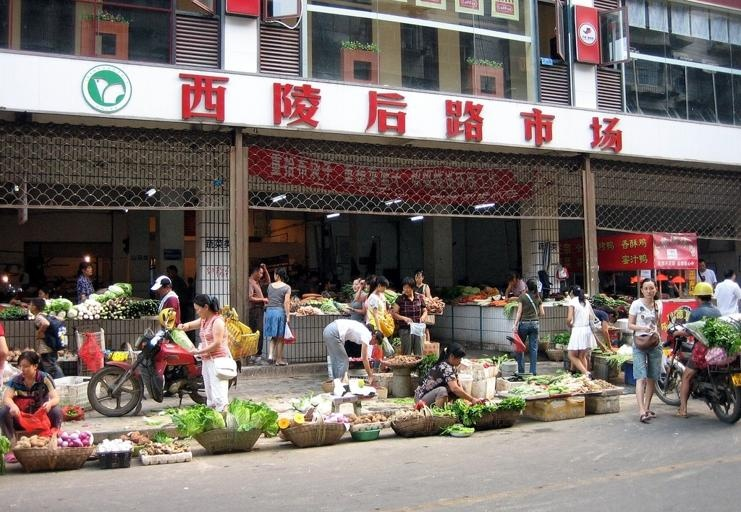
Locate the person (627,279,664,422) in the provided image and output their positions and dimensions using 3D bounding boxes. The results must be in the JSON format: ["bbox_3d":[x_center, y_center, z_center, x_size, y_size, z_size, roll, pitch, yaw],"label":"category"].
[{"bbox_3d":[4.503,1.520,11.420,0.578,2.315,0.971,-4,-9,41],"label":"person"}]

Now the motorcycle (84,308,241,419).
[{"bbox_3d":[-3.492,1.825,11.558,2.217,1.351,1.005,0,14,-8],"label":"motorcycle"}]

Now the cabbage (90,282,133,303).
[{"bbox_3d":[-5.177,0.741,13.814,0.684,0.317,0.801,-1,0,-15],"label":"cabbage"}]

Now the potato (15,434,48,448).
[{"bbox_3d":[-4.604,2.516,9.470,0.433,0.130,0.334,-1,0,-24],"label":"potato"}]

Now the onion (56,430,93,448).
[{"bbox_3d":[-4.124,2.549,9.679,0.449,0.178,0.251,-1,0,-14],"label":"onion"}]

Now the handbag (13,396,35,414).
[{"bbox_3d":[-4.999,2.125,9.990,0.123,0.230,0.167,-16,15,40],"label":"handbag"}]

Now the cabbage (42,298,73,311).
[{"bbox_3d":[-5.916,0.922,13.202,0.279,0.198,0.304,-2,2,-15],"label":"cabbage"}]

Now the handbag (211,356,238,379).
[{"bbox_3d":[-2.212,1.667,10.385,0.356,0.352,0.151,6,-20,-40],"label":"handbag"}]

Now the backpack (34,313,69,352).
[{"bbox_3d":[-5.443,1.285,11.849,0.637,0.659,0.436,-4,5,30],"label":"backpack"}]
